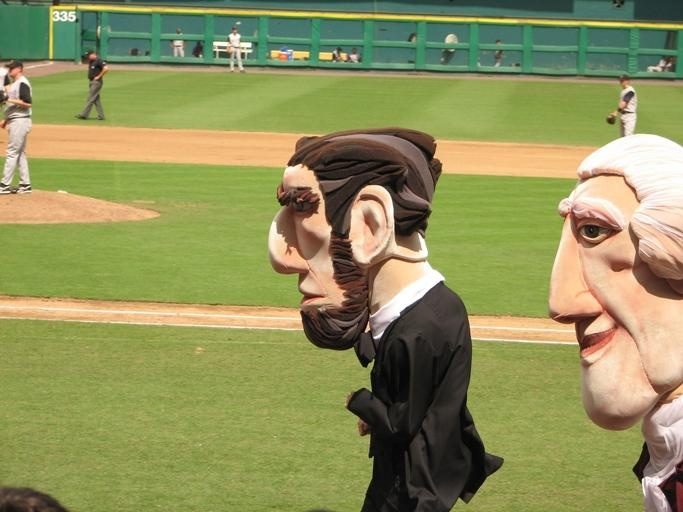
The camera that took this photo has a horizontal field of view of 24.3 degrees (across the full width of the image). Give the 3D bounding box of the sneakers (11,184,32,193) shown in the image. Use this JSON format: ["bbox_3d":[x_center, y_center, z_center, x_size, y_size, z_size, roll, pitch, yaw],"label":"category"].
[{"bbox_3d":[-7.165,-1.546,36.079,0.445,0.160,0.175,1,4,-5],"label":"sneakers"}]

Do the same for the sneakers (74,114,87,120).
[{"bbox_3d":[-7.716,-4.219,47.720,0.443,0.180,0.147,11,12,27],"label":"sneakers"}]

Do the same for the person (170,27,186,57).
[{"bbox_3d":[-6.325,-8.526,62.975,0.507,1.162,1.001,0,10,-7],"label":"person"}]
